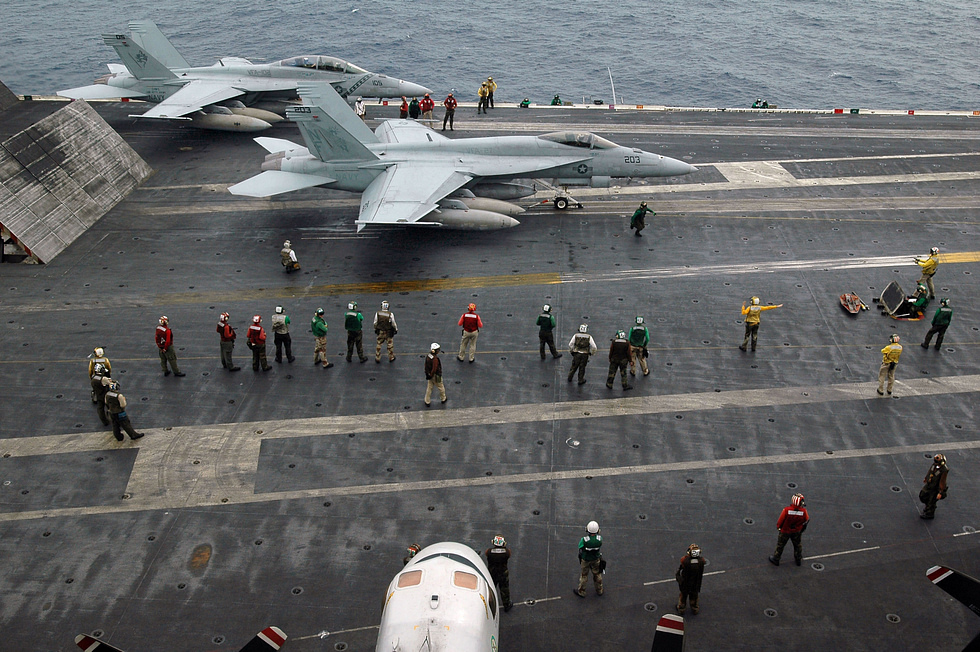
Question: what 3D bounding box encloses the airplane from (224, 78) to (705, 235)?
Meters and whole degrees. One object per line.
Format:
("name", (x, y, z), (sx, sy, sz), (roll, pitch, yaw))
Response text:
("airplane", (-3.308, -10.085, 49.476), (22.515, 8.118, 11.298), (-6, 33, -4))
